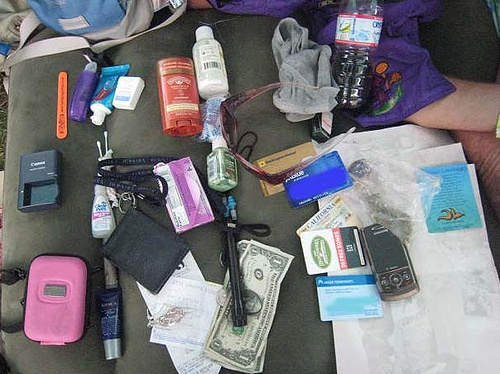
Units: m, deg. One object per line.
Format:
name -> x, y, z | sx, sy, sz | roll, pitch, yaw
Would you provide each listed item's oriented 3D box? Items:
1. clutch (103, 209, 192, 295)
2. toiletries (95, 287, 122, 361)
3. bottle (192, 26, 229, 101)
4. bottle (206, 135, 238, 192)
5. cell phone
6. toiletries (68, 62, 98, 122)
clutch -> -0.294, 0.195, 1.263 | 0.234, 0.055, 0.188 | 36, 82, 7
toiletries -> -0.404, 0.403, 1.259 | 0.065, 0.081, 0.194 | -5, 66, 1
bottle -> -0.128, -0.395, 1.373 | 0.100, 0.118, 0.221 | -8, 66, -1
bottle -> -0.086, -0.072, 1.299 | 0.083, 0.069, 0.146 | -5, 66, 1
cell phone -> 0.404, 0.215, 1.245 | 0.120, 0.057, 0.220 | -17, 79, 7
toiletries -> -0.534, -0.326, 1.396 | 0.064, 0.054, 0.198 | 14, 76, -17
